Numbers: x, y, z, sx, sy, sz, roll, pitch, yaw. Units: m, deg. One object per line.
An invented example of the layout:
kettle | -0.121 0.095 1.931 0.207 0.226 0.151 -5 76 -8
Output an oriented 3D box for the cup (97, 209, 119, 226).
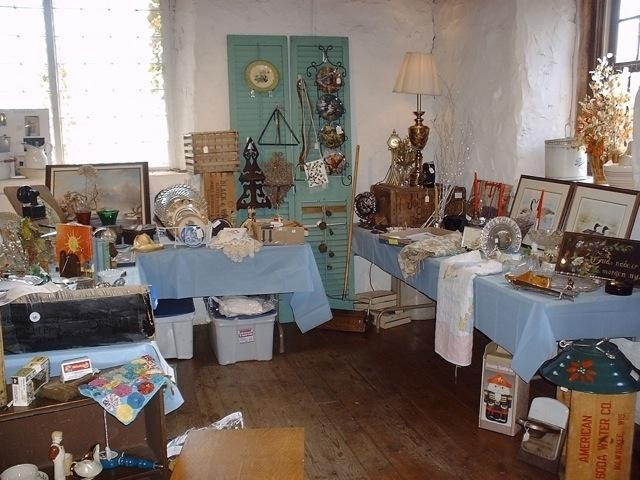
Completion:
cup | -1.681 -0.173 3.836 0.147 0.122 0.151 -1 13 0

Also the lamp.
lamp | 0.885 -1.121 4.515 0.394 1.183 0.704 1 13 8

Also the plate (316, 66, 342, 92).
plate | 0.087 -1.560 4.641 0.273 0.275 0.123 -1 13 -2

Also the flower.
flower | 2.042 -0.959 3.420 0.325 0.771 0.679 6 14 27

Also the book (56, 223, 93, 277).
book | -1.314 0.060 2.554 0.262 0.366 0.048 0 -1 1

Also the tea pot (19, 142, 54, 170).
tea pot | -2.522 -0.730 4.295 0.204 0.299 0.284 5 2 38

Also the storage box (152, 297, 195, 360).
storage box | -1.166 0.757 4.121 0.408 0.519 0.511 0 8 -3

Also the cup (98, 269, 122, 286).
cup | -1.124 0.195 2.541 0.085 0.062 0.088 0 7 0

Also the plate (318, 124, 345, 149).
plate | 0.131 -1.010 4.694 0.274 0.244 0.073 -5 14 -18

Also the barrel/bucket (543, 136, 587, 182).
barrel/bucket | 1.869 -0.594 3.661 0.329 0.375 0.332 -4 8 1

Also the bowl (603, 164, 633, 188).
bowl | 1.970 -0.415 3.153 0.144 0.108 0.156 0 3 0

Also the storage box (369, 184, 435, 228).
storage box | 0.791 -0.326 4.487 0.380 0.304 0.536 -1 9 -17

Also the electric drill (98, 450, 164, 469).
electric drill | -0.793 0.918 1.985 0.188 0.057 0.093 9 3 -5

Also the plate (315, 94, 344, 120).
plate | 0.108 -1.292 4.666 0.289 0.249 0.077 -6 14 -22

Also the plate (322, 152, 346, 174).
plate | 0.135 -0.761 4.710 0.221 0.214 0.189 1 23 4

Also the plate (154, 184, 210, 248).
plate | -1.155 -0.212 3.955 0.375 0.261 0.631 -17 43 -7

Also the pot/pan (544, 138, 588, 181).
pot/pan | 1.867 -0.578 3.692 0.329 0.361 0.329 -8 8 -44
